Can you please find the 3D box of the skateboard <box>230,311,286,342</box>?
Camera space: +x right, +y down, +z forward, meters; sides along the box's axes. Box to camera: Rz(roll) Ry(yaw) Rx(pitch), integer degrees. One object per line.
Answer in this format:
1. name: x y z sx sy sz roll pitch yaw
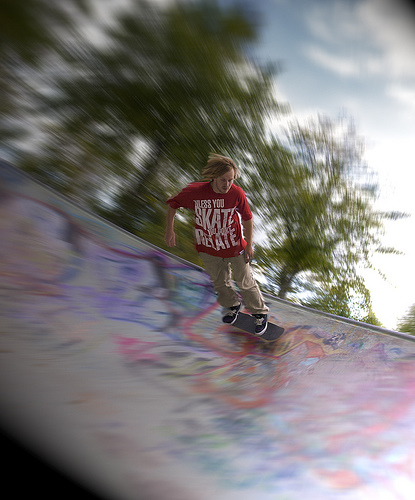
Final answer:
1. skateboard: 0.366 0.657 3.479 0.575 0.163 0.073 18 -34 14
